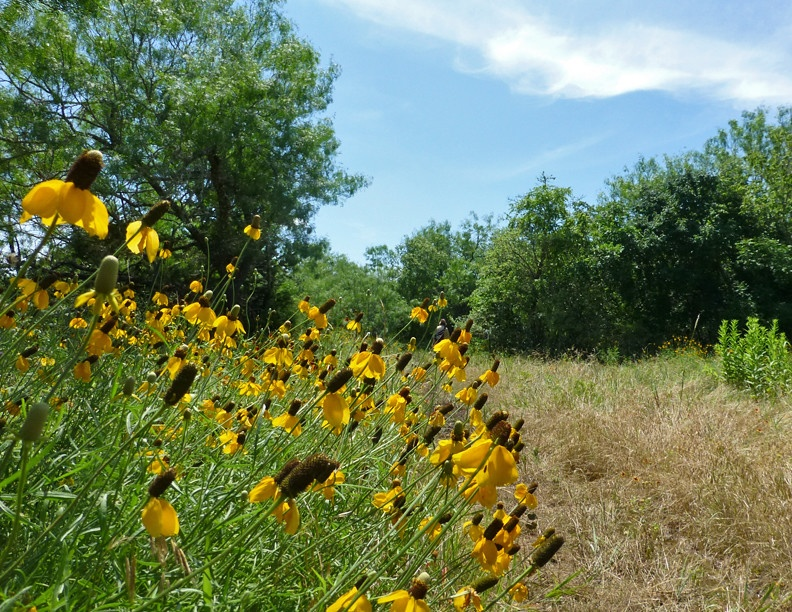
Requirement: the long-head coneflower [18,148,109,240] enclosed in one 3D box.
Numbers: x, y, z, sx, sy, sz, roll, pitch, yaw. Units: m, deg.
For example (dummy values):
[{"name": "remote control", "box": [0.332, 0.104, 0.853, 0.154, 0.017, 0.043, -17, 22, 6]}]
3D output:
[{"name": "long-head coneflower", "box": [-2.590, -0.840, 5.669, 0.611, 0.751, 0.335, -6, 1, -22]}]
